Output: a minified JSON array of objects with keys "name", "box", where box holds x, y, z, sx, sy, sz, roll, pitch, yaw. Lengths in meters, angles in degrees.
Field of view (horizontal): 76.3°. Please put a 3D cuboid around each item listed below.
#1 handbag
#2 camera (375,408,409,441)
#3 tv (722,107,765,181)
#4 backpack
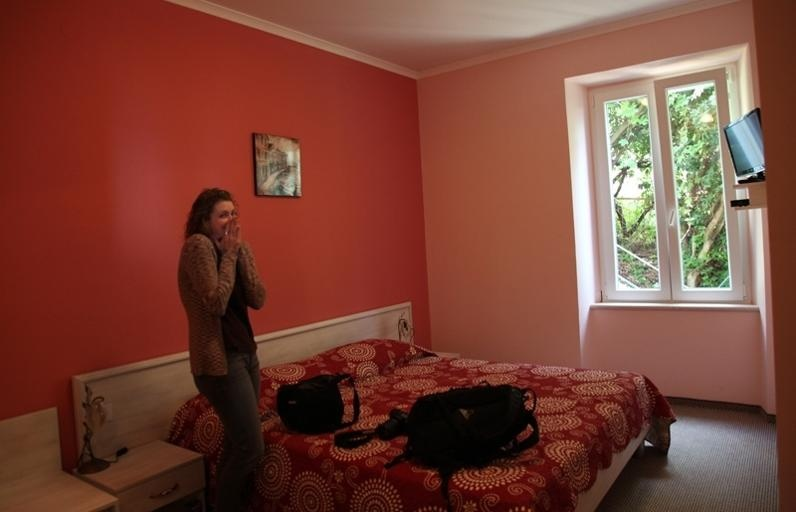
[{"name":"handbag","box":[-0.478,0.901,3.107,0.501,0.271,0.273,-5,13,-18]},{"name":"camera","box":[-0.023,0.929,2.809,0.160,0.112,0.179,6,11,40]},{"name":"tv","box":[2.308,-0.721,3.363,0.222,0.481,0.708,6,14,31]},{"name":"backpack","box":[0.390,0.895,2.680,0.553,0.199,0.399,-10,42,-5]}]
